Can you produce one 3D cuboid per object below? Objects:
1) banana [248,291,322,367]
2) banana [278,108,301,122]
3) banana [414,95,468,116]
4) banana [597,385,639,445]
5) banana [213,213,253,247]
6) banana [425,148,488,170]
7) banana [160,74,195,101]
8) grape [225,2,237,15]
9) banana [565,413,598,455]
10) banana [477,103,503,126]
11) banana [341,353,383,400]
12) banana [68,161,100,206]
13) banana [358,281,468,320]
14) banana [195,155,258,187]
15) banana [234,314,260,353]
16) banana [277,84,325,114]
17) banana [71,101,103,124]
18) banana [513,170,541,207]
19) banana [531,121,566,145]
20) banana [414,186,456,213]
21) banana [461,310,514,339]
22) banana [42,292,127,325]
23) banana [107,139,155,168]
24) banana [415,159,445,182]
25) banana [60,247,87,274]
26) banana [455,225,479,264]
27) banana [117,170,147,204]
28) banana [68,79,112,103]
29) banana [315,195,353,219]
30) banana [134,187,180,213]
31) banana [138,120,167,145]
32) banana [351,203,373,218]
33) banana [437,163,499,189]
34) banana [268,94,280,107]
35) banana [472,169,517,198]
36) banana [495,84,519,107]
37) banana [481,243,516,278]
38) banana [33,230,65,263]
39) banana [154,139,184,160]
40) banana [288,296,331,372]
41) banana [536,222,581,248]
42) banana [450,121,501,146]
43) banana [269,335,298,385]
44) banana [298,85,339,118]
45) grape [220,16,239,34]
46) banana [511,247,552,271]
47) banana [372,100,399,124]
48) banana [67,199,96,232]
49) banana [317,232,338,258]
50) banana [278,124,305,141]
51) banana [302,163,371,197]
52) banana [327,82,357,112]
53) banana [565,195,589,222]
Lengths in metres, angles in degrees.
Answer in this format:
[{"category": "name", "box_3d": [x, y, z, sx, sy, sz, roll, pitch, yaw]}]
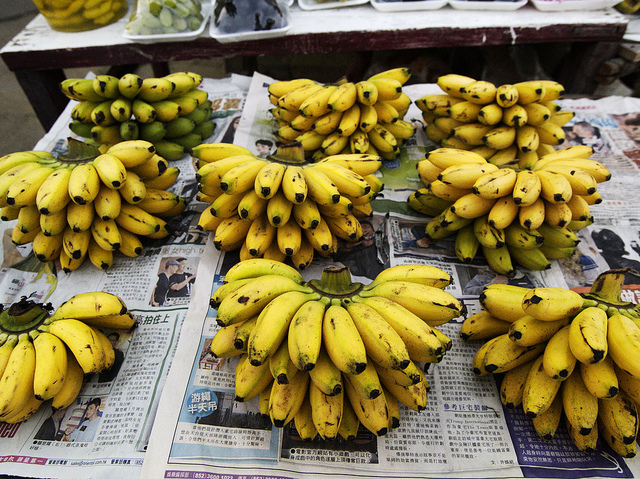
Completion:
[{"category": "banana", "box_3d": [-0.064, 0.229, 1.338, 0.125, 0.079, 0.279, 14, 38, -30]}, {"category": "banana", "box_3d": [-0.121, -0.484, 1.948, 0.041, 0.122, 0.037, -2, 92, -33]}, {"category": "banana", "box_3d": [0.447, -0.509, 1.907, 0.226, 0.064, 0.075, 4, 19, 45]}, {"category": "banana", "box_3d": [0.793, 0.465, 1.370, 0.075, 0.058, 0.164, -2, 56, -15]}, {"category": "banana", "box_3d": [-0.280, -0.032, 1.678, 0.148, 0.053, 0.073, -37, 80, -16]}, {"category": "banana", "box_3d": [0.450, -0.279, 1.703, 0.228, 0.075, 0.075, 4, 79, 1]}, {"category": "banana", "box_3d": [-0.542, -0.575, 1.888, 0.164, 0.053, 0.043, -35, 68, -27]}, {"category": "grape", "box_3d": [-0.396, -1.024, 2.212, 0.038, 0.049, 0.014, 0, 18, 17]}, {"category": "banana", "box_3d": [0.719, 0.546, 1.362, 0.065, 0.043, 0.132, 5, 81, -12]}, {"category": "banana", "box_3d": [0.596, -0.433, 1.733, 0.050, 0.101, 0.047, -5, 91, 20]}, {"category": "banana", "box_3d": [0.100, 0.347, 1.333, 0.068, 0.053, 0.145, 10, 33, -50]}, {"category": "banana", "box_3d": [-0.741, -0.175, 1.564, 0.069, 0.074, 0.140, -1, 43, -1]}, {"category": "banana", "box_3d": [0.246, 0.171, 1.381, 0.189, 0.054, 0.070, 16, 44, 11]}, {"category": "banana", "box_3d": [-0.300, -0.225, 1.624, 0.227, 0.062, 0.082, -3, 49, -4]}, {"category": "banana", "box_3d": [-0.201, 0.251, 1.332, 0.032, 0.047, 0.097, 36, 39, -8]}, {"category": "banana", "box_3d": [-0.078, -0.524, 1.912, 0.173, 0.064, 0.086, -18, 70, 6]}, {"category": "banana", "box_3d": [-0.831, -0.455, 1.780, 0.101, 0.032, 0.051, -22, 79, -39]}, {"category": "banana", "box_3d": [0.641, -0.158, 1.537, 0.064, 0.045, 0.126, 2, 36, 20]}, {"category": "banana", "box_3d": [0.823, -0.375, 1.781, 0.060, 0.042, 0.123, -12, 17, -8]}, {"category": "banana", "box_3d": [0.432, -0.125, 1.794, 0.194, 0.062, 0.052, 16, 40, -39]}, {"category": "banana", "box_3d": [0.497, 0.261, 1.503, 0.194, 0.069, 0.067, -4, 37, 10]}, {"category": "banana", "box_3d": [-0.719, 0.216, 1.537, 0.161, 0.043, 0.059, -10, 26, -10]}, {"category": "banana", "box_3d": [-0.617, -0.288, 1.651, 0.155, 0.075, 0.085, -14, 79, 4]}, {"category": "banana", "box_3d": [0.395, -0.248, 1.773, 0.055, 0.032, 0.094, -46, 54, -2]}, {"category": "banana", "box_3d": [-0.844, 0.069, 1.694, 0.092, 0.051, 0.029, -43, 39, 17]}, {"category": "banana", "box_3d": [0.497, 0.016, 1.676, 0.063, 0.045, 0.132, -2, 54, 25]}, {"category": "banana", "box_3d": [-0.620, -0.170, 1.646, 0.060, 0.065, 0.123, -5, 28, -15]}, {"category": "banana", "box_3d": [-0.816, -0.518, 1.754, 0.158, 0.056, 0.043, -4, 85, -31]}, {"category": "banana", "box_3d": [0.042, -0.099, 1.587, 0.059, 0.172, 0.047, -6, 90, -28]}, {"category": "banana", "box_3d": [-0.566, -0.139, 1.769, 0.196, 0.065, 0.054, -4, 79, -2]}, {"category": "banana", "box_3d": [-0.624, -0.401, 1.890, 0.122, 0.060, 0.069, -9, 91, 19]}, {"category": "banana", "box_3d": [0.149, -0.101, 1.741, 0.069, 0.023, 0.040, 6, 49, -10]}, {"category": "banana", "box_3d": [0.476, -0.205, 1.597, 0.168, 0.061, 0.082, -6, 66, 2]}, {"category": "banana", "box_3d": [-0.183, -0.561, 2.009, 0.034, 0.056, 0.030, 14, 77, -16]}, {"category": "banana", "box_3d": [0.552, -0.175, 1.601, 0.142, 0.054, 0.070, -19, 74, -21]}, {"category": "banana", "box_3d": [0.636, -0.489, 1.690, 0.059, 0.080, 0.061, -28, 74, 13]}, {"category": "banana", "box_3d": [0.592, 0.065, 1.704, 0.063, 0.053, 0.179, -1, 31, -16]}, {"category": "banana", "box_3d": [-0.915, 0.022, 1.672, 0.068, 0.131, 0.042, 1, 23, -17]}, {"category": "banana", "box_3d": [-0.597, -0.350, 1.944, 0.125, 0.080, 0.041, 27, 77, -3]}, {"category": "banana", "box_3d": [-0.039, 0.243, 1.350, 0.105, 0.086, 0.319, 11, 25, 3]}, {"category": "banana", "box_3d": [0.774, -0.007, 1.618, 0.200, 0.067, 0.055, -4, 73, 17]}, {"category": "banana", "box_3d": [0.549, -0.372, 1.834, 0.227, 0.063, 0.076, -5, 9, 41]}, {"category": "banana", "box_3d": [-0.104, 0.308, 1.320, 0.040, 0.046, 0.138, -43, 47, 25]}, {"category": "banana", "box_3d": [-0.009, -0.498, 1.798, 0.077, 0.163, 0.059, 1, 89, -17]}, {"category": "grape", "box_3d": [-0.411, -0.965, 2.243, 0.068, 0.069, 0.023, -1, 36, 21]}, {"category": "banana", "box_3d": [0.703, 0.060, 1.644, 0.061, 0.182, 0.051, -6, 94, -9]}, {"category": "banana", "box_3d": [0.247, -0.473, 1.862, 0.055, 0.039, 0.109, -27, 51, -20]}, {"category": "banana", "box_3d": [-0.770, -0.072, 1.599, 0.060, 0.044, 0.122, 5, 66, -12]}, {"category": "banana", "box_3d": [0.027, 0.023, 1.691, 0.048, 0.031, 0.091, -3, 39, 4]}, {"category": "banana", "box_3d": [-0.111, -0.412, 1.932, 0.085, 0.028, 0.047, 22, 87, 23]}, {"category": "banana", "box_3d": [0.058, -0.174, 1.601, 0.068, 0.264, 0.095, 12, 84, 49]}, {"category": "banana", "box_3d": [0.082, -0.499, 1.760, 0.069, 0.042, 0.124, 27, 56, 9]}, {"category": "banana", "box_3d": [0.836, -0.099, 1.612, 0.053, 0.036, 0.107, -5, 63, 7]}]
